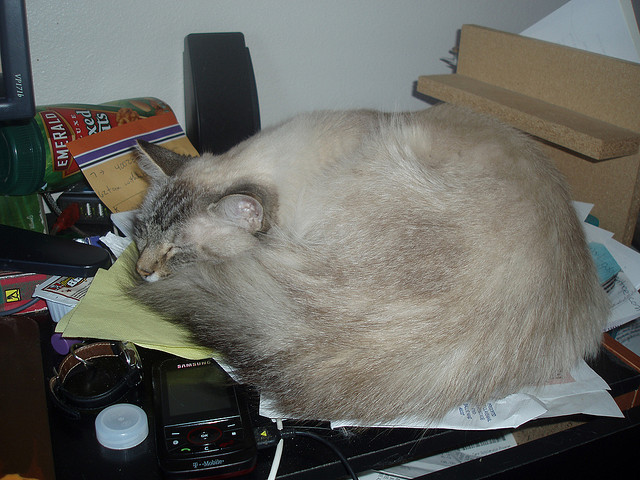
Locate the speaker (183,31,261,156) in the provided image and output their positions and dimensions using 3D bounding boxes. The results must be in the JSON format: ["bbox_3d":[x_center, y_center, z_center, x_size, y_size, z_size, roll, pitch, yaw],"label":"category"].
[{"bbox_3d":[-0.221,-0.367,1.174,0.157,0.249,0.143,-5,15,-15],"label":"speaker"}]

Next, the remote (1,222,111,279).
[{"bbox_3d":[-0.405,0.014,0.798,0.166,0.020,0.080,4,36,-28],"label":"remote"}]

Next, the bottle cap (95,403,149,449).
[{"bbox_3d":[-0.262,0.246,0.669,0.062,0.023,0.060,-10,32,-20],"label":"bottle cap"}]

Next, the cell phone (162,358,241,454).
[{"bbox_3d":[-0.170,0.237,0.711,0.113,0.028,0.187,-2,29,-17],"label":"cell phone"}]
